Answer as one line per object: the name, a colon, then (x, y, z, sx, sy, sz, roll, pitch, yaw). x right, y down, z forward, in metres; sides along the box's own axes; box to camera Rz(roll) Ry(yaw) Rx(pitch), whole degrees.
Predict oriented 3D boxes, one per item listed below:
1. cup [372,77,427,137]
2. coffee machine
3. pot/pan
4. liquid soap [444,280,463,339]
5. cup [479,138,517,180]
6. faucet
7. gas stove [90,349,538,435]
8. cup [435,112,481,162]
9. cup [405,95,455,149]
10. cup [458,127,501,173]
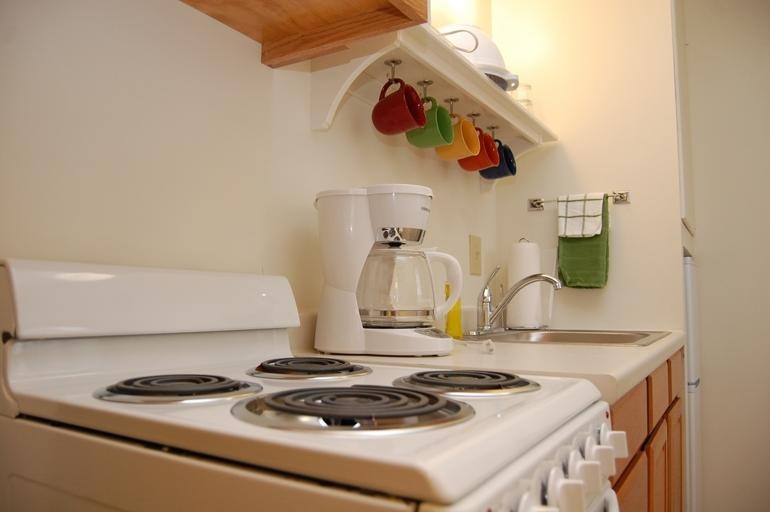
cup: (0.021, -0.459, 1.738, 0.118, 0.133, 0.186, 3, 40, -23)
coffee machine: (-0.015, 0.031, 1.432, 0.474, 0.486, 0.319, -3, 0, 14)
pot/pan: (0.335, -0.682, 1.923, 0.278, 0.222, 0.288, 0, 2, -6)
liquid soap: (0.238, 0.182, 1.870, 0.055, 0.173, 0.059, -1, 7, -15)
cup: (0.454, -0.382, 2.336, 0.126, 0.164, 0.133, 1, 4, 0)
faucet: (0.538, 0.158, 2.207, 0.359, 0.249, 0.232, -1, 0, 17)
gas stove: (-0.098, 0.221, 0.993, 0.674, 0.033, 0.437, 1, 2, 21)
cup: (0.247, -0.381, 1.948, 0.131, 0.174, 0.115, -3, 2, 33)
cup: (0.140, -0.396, 1.815, 0.132, 0.177, 0.116, -1, 1, 23)
cup: (0.358, -0.360, 2.085, 0.127, 0.167, 0.135, -6, -2, 0)
